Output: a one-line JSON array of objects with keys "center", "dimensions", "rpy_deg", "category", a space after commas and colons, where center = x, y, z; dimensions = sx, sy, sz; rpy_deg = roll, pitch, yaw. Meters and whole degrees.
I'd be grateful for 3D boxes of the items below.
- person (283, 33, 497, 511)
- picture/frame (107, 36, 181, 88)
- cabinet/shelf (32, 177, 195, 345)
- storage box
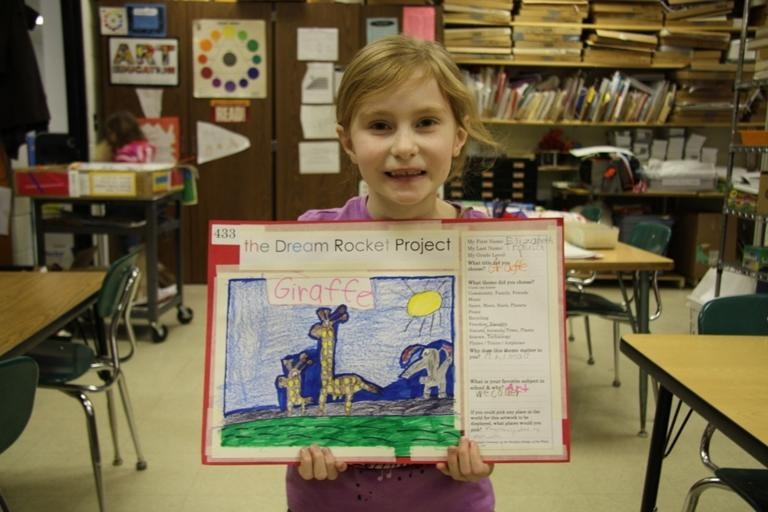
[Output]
[{"center": [0.021, 0.067, 2.255], "dimensions": [0.695, 1.547, 0.495], "rpy_deg": [0, 12, 2], "category": "person"}, {"center": [-2.085, -1.681, 5.863], "dimensions": [0.465, 0.308, 0.061], "rpy_deg": [1, 1, 1], "category": "picture/frame"}, {"center": [-1.713, -0.037, 5.447], "dimensions": [1.326, 1.346, 0.950], "rpy_deg": [3, 13, 7], "category": "cabinet/shelf"}, {"center": [-2.072, -0.551, 4.958], "dimensions": [1.096, 0.229, 0.471], "rpy_deg": [-1, 11, -6], "category": "storage box"}]
